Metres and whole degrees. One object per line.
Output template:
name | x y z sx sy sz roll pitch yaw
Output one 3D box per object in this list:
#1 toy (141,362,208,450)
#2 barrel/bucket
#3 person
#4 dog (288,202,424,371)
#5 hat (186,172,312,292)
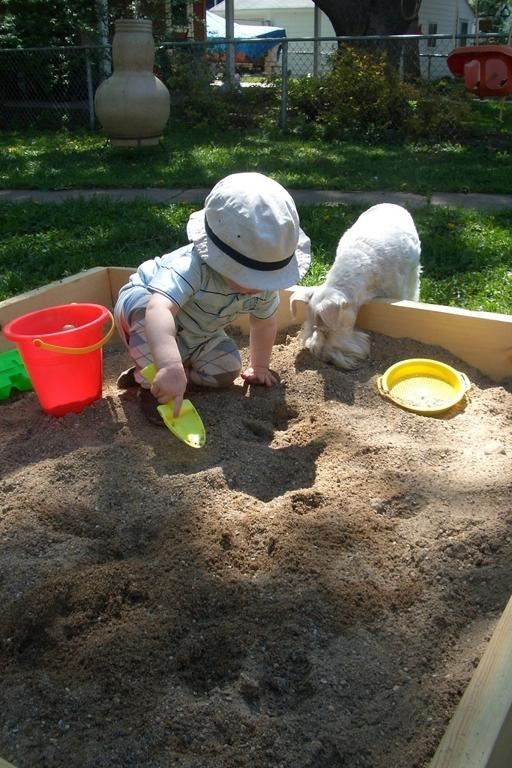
toy | -0.291 0.116 2.462 0.149 0.396 0.061 -31 -1 -28
barrel/bucket | -0.779 -0.081 2.724 0.394 0.396 0.479 -4 20 -14
person | -0.221 -0.330 2.662 0.693 0.968 0.756 14 28 4
dog | 0.570 -0.535 3.522 0.423 0.566 1.132 2 47 34
hat | -0.035 -0.532 2.365 0.384 0.370 0.291 -1 20 -5
